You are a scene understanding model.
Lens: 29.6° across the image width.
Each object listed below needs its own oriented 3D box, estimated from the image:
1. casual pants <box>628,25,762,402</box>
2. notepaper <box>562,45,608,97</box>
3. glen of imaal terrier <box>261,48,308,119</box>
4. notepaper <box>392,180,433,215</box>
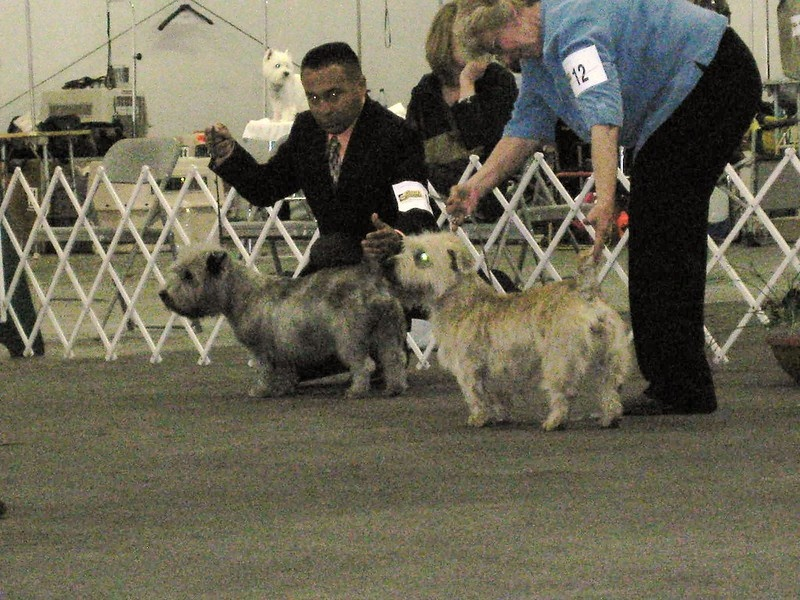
[{"bbox_3d":[1.545,-0.547,8.080,0.707,2.379,0.628,1,-10,29],"label":"casual pants"},{"bbox_3d":[0.915,-1.180,7.550,0.223,0.223,0.207,-9,29,18],"label":"notepaper"},{"bbox_3d":[-1.284,-2.168,15.606,0.351,0.702,0.940,-3,1,-13],"label":"glen of imaal terrier"},{"bbox_3d":[0.064,-0.568,8.304,0.183,0.187,0.049,-1,-25,-20],"label":"notepaper"}]
